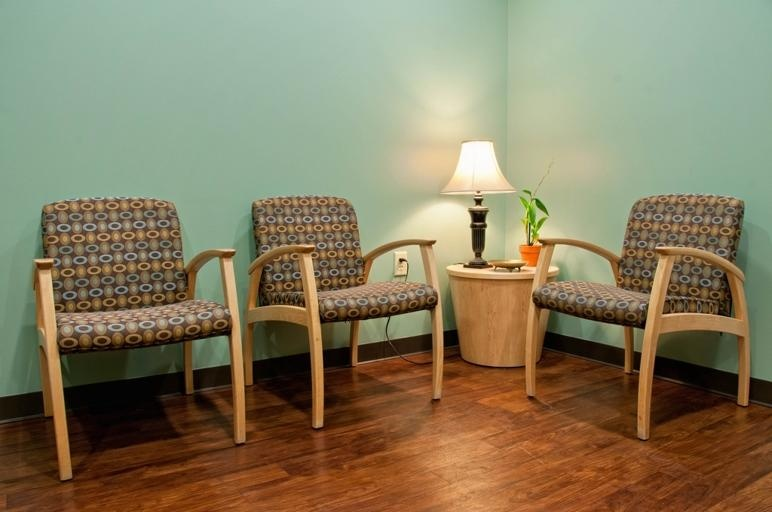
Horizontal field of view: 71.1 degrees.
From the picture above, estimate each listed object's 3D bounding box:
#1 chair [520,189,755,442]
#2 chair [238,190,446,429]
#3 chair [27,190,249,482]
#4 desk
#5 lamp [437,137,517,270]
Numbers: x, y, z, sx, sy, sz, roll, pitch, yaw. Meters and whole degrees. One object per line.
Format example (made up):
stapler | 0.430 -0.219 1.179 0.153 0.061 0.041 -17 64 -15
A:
chair | 1.267 0.209 2.716 0.955 0.920 0.855 -8 11 -40
chair | -0.267 0.226 2.844 0.900 1.029 0.886 -8 16 -28
chair | -1.131 0.240 2.412 0.772 0.889 0.826 -5 15 -37
desk | 0.769 0.399 3.424 0.800 0.531 0.755 6 1 35
lamp | 0.568 -0.330 3.370 0.422 0.766 0.531 1 15 6
